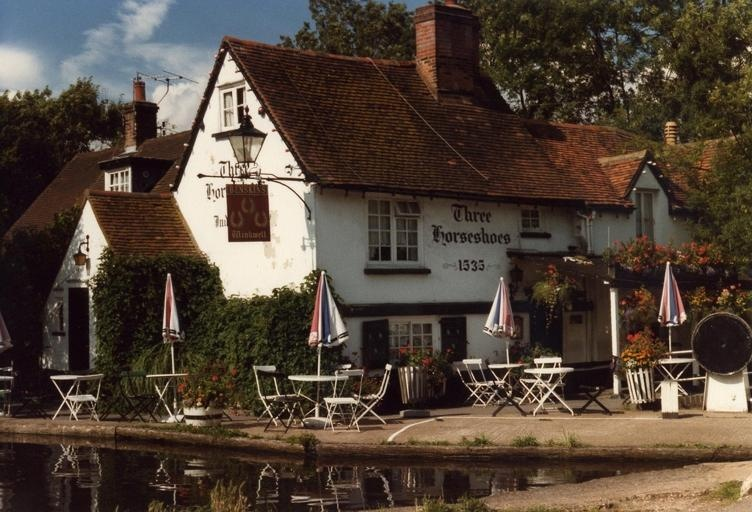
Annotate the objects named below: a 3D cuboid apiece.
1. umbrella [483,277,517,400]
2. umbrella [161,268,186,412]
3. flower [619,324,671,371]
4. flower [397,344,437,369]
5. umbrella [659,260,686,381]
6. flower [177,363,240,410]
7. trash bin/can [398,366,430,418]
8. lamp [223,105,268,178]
[{"bbox_3d":[4.194,2.724,56.043,1.189,3.963,1.289,0,3,16],"label":"umbrella"},{"bbox_3d":[-6.975,2.948,55.504,0.707,4.926,1.958,0,-5,-7],"label":"umbrella"},{"bbox_3d":[9.024,3.062,54.946,1.434,1.307,0.652,-2,-5,8],"label":"flower"},{"bbox_3d":[1.357,3.443,56.532,0.859,0.584,0.825,2,5,-39],"label":"flower"},{"bbox_3d":[10.076,2.130,55.837,0.837,3.688,1.067,4,8,34],"label":"umbrella"},{"bbox_3d":[-5.741,4.288,54.279,1.452,1.090,1.508,-4,-6,35],"label":"flower"},{"bbox_3d":[1.261,4.426,55.800,0.955,1.445,0.484,-1,-5,0],"label":"trash bin/can"},{"bbox_3d":[-4.354,-3.793,55.023,1.302,2.546,1.387,-9,6,-44],"label":"lamp"}]
